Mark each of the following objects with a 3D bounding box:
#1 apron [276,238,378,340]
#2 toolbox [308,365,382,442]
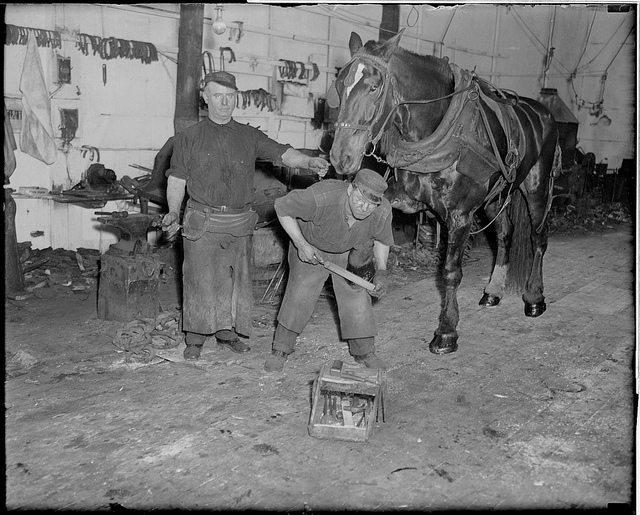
[{"bbox_3d":[0.104,0.114,4.765,0.826,1.244,0.372,4,32,3],"label":"apron"},{"bbox_3d":[0.179,1.016,4.081,0.469,0.401,0.489,3,12,7],"label":"toolbox"}]
